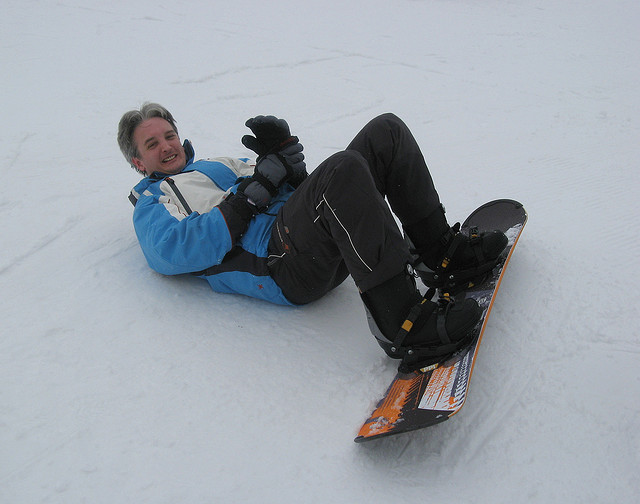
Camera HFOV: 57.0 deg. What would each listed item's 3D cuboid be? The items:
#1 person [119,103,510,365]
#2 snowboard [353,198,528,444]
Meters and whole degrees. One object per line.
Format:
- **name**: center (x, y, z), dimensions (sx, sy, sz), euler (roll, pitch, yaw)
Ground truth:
- **person**: center (-0.075, -0.175, 2.972), dimensions (2.042, 1.059, 1.034), euler (4, 27, 22)
- **snowboard**: center (0.731, 0.195, 2.785), dimensions (0.475, 0.236, 1.777), euler (4, 41, 35)
